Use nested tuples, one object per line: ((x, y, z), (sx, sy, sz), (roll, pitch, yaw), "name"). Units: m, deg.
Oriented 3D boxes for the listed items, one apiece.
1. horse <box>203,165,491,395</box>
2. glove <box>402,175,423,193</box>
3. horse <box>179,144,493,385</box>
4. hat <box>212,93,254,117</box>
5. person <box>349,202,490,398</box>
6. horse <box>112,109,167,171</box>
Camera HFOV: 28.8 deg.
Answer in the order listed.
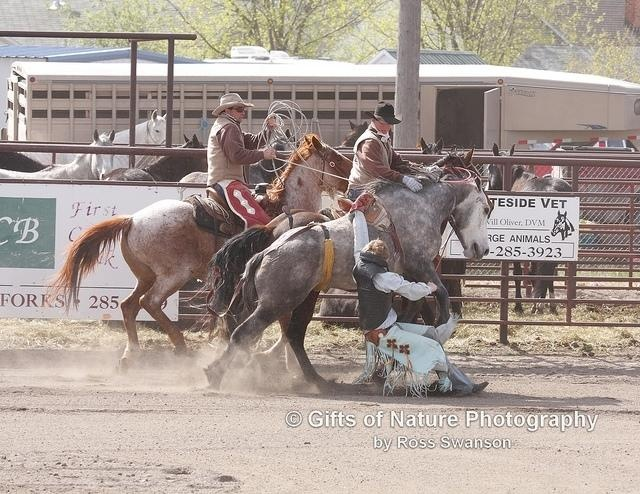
((0.408, 0.281, 14.332), (3.766, 2.177, 0.846), (-6, 6, -26), "horse")
((1.044, -0.710, 14.190), (0.056, 0.198, 0.162), (-47, 8, 36), "glove")
((0.360, 0.318, 14.256), (3.598, 2.227, 0.775), (-6, 13, -21), "horse")
((-1.037, -1.671, 14.509), (0.420, 0.162, 0.357), (-12, 0, 10), "hat")
((0.959, 0.607, 13.802), (1.299, 2.150, 0.569), (2, 14, 1), "person")
((-3.045, -1.661, 21.493), (0.318, 0.988, 1.298), (0, 29, 22), "horse")
